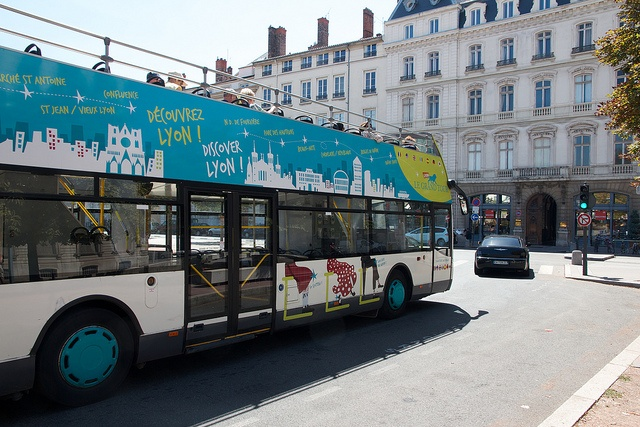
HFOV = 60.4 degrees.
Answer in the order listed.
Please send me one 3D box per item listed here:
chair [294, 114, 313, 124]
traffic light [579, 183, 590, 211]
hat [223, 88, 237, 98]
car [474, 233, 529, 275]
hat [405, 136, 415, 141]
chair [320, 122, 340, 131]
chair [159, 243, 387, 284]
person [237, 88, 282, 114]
[{"bbox_3d":[-0.331,-2.046,11.876,0.255,0.108,0.222,11,6,38],"label":"chair"},{"bbox_3d":[9.844,-0.579,20.522,0.296,0.926,0.592,3,7,30],"label":"traffic light"},{"bbox_3d":[-1.749,-2.326,10.649,0.219,0.156,0.227,0,4,-9],"label":"hat"},{"bbox_3d":[6.853,1.671,20.907,1.979,1.472,1.599,0,6,-1],"label":"car"},{"bbox_3d":[2.345,-1.981,14.560,0.177,0.104,0.235,1,-1,1],"label":"hat"},{"bbox_3d":[0.261,-1.969,12.289,0.249,0.146,0.234,-2,6,16],"label":"chair"},{"bbox_3d":[-0.649,1.206,11.405,4.643,1.207,1.151,4,-10,-35],"label":"chair"},{"bbox_3d":[-1.318,-2.241,11.181,0.660,0.331,0.701,14,15,32],"label":"person"}]
